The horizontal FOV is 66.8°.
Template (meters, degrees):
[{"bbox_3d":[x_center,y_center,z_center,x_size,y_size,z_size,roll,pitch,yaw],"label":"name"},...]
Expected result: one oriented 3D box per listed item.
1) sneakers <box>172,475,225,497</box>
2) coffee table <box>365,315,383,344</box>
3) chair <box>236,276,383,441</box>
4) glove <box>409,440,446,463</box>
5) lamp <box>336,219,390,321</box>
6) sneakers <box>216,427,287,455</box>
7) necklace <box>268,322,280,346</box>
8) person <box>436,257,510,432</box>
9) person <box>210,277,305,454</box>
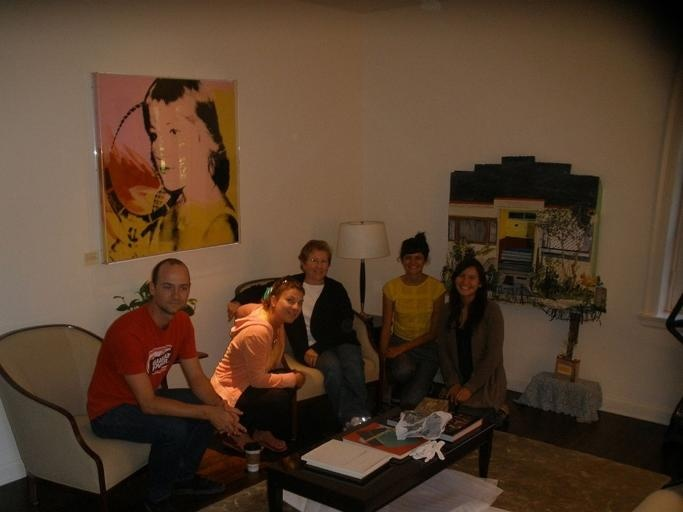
[{"bbox_3d":[-0.949,1.521,3.484,0.342,0.141,0.130,1,1,-7],"label":"sneakers"},{"bbox_3d":[0.310,0.686,4.976,0.240,0.158,0.245,5,12,22],"label":"coffee table"},{"bbox_3d":[-0.240,0.750,4.697,1.097,1.493,1.281,-3,5,-33],"label":"chair"},{"bbox_3d":[0.523,1.144,3.055,0.098,0.028,0.156,9,14,41],"label":"glove"},{"bbox_3d":[0.224,0.177,5.251,0.565,0.978,0.570,1,3,37],"label":"lamp"},{"bbox_3d":[-0.708,1.406,3.994,0.587,0.225,0.201,-2,8,4],"label":"sneakers"},{"bbox_3d":[-0.481,0.579,3.916,0.103,0.146,0.051,0,3,-18],"label":"necklace"},{"bbox_3d":[1.062,0.644,4.187,0.556,1.219,0.452,2,10,15],"label":"person"},{"bbox_3d":[-0.632,0.813,3.981,0.685,1.351,0.593,5,13,-1],"label":"person"}]
